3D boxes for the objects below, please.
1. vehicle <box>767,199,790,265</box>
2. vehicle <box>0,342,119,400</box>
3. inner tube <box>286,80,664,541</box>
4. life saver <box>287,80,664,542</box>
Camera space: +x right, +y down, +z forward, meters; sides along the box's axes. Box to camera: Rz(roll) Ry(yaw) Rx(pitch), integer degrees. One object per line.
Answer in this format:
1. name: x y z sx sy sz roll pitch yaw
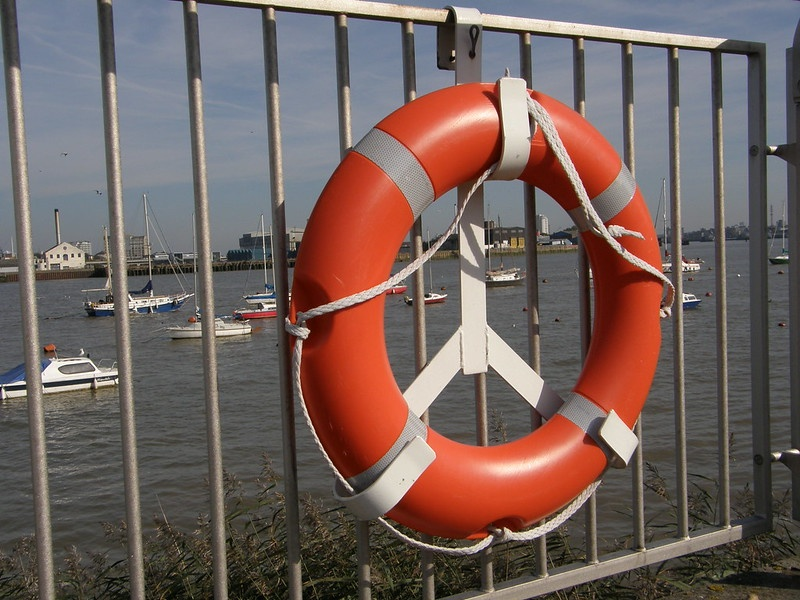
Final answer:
1. vehicle: 24.771 -4.215 59.461 2.917 4.177 0.940 -8 7 -42
2. vehicle: -8.356 1.562 21.569 2.435 0.787 4.887 -6 8 -28
3. inner tube: 0.188 0.094 3.800 1.747 1.951 0.457 -8 4 -35
4. life saver: 0.200 0.083 3.827 1.744 1.955 0.464 -7 4 -35
